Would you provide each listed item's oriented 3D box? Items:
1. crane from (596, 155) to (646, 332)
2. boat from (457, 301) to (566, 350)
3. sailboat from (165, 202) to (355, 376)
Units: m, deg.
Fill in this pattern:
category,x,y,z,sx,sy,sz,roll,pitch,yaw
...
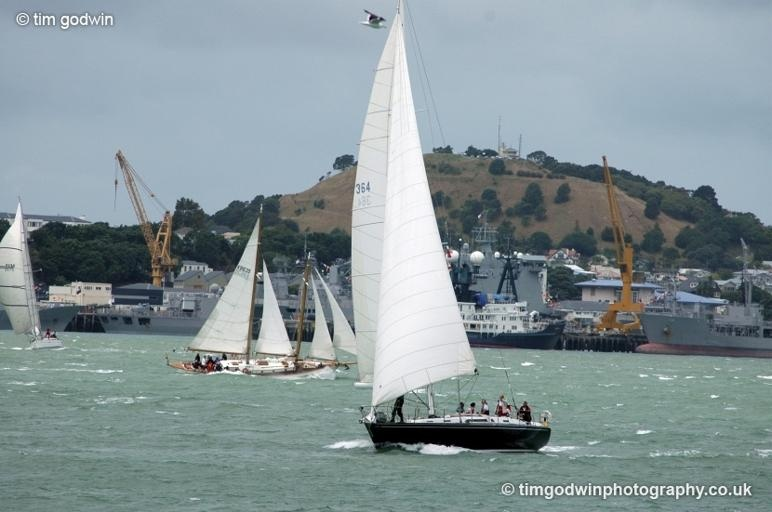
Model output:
category,x,y,z,sx,sy,sz,roll,pitch,yaw
crane,46.810,-0.665,295.418,7.410,34.361,7.655,0,-16,4
boat,18.120,9.869,207.838,17.997,5.912,7.107,-1,0,6
sailboat,-13.431,3.524,161.622,15.948,17.671,14.621,1,5,-7
